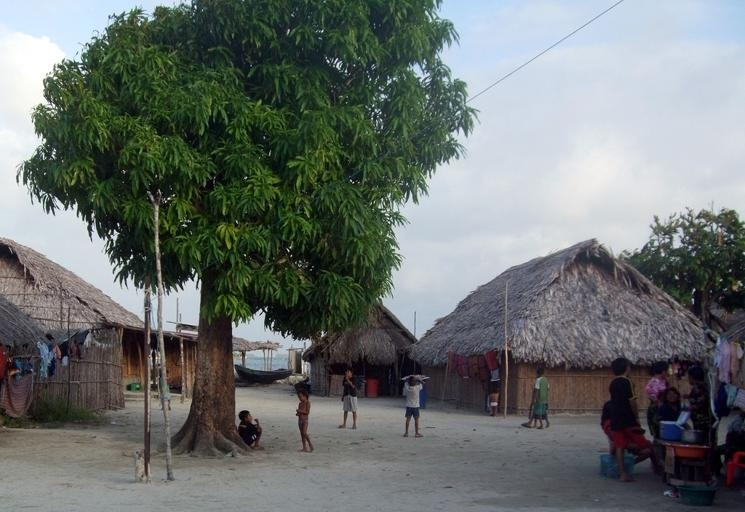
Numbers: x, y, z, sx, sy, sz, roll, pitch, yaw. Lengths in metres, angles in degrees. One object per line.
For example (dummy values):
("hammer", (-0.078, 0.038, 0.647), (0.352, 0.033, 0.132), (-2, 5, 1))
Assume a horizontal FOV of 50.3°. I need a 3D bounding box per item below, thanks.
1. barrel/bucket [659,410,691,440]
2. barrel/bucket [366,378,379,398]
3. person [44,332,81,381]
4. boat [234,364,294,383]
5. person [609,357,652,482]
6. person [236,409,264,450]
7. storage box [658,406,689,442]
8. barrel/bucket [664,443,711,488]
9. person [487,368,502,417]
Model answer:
("barrel/bucket", (6.196, 3.487, 16.274), (0.576, 0.641, 0.496), (1, -11, 15))
("barrel/bucket", (-0.015, 6.315, 38.118), (0.518, 0.927, 0.898), (2, -12, -3))
("person", (-9.510, 2.993, 24.181), (1.028, 1.532, 0.711), (7, -4, -43))
("boat", (-6.795, 7.311, 48.433), (3.646, 0.938, 1.660), (8, -14, -27))
("person", (5.351, 3.397, 16.591), (0.696, 2.514, 0.898), (-7, -14, 37))
("person", (-3.102, 4.331, 19.886), (0.592, 0.945, 1.516), (3, -13, -9))
("storage box", (6.157, 3.463, 16.231), (0.596, 0.688, 0.482), (4, 0, 22))
("barrel/bucket", (6.342, 4.183, 15.978), (0.841, 0.688, 0.857), (-2, -8, 0))
("person", (4.394, 4.820, 28.553), (0.424, 1.689, 0.373), (1, 6, 19))
